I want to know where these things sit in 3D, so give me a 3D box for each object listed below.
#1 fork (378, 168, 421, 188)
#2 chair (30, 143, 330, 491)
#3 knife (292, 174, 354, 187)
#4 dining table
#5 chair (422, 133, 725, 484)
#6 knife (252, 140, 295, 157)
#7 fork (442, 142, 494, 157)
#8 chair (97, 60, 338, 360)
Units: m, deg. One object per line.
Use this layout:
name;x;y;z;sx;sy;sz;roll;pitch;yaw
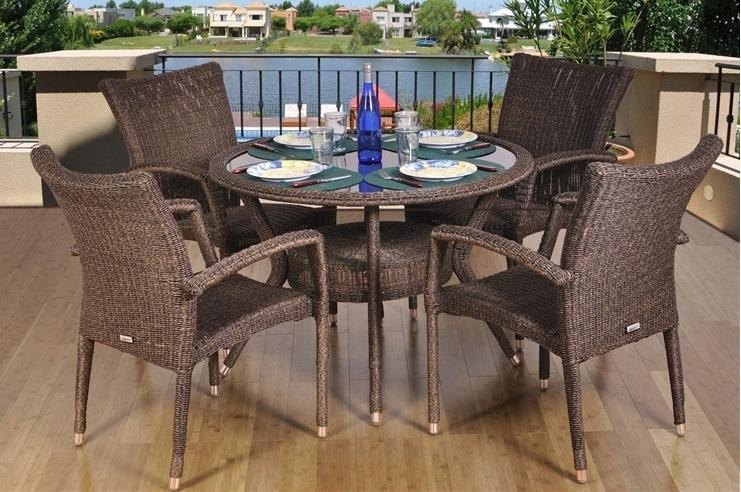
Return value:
fork;0.104;-0.251;2.057;0.238;0.029;0.048;17;41;38
chair;-0.584;0.224;1.882;0.887;1.041;0.626;-2;33;-4
knife;-0.173;-0.233;2.042;0.217;0.018;0.029;-9;24;-31
dining table;0.031;0.044;2.645;1.410;0.751;1.177;-1;22;-1
chair;0.712;0.158;2.059;0.761;0.842;0.796;-11;9;-33
knife;-0.409;-0.413;2.446;0.274;0.033;0.044;17;-7;36
fork;0.399;-0.400;2.382;0.252;0.030;0.038;-10;45;-20
chair;-0.610;-0.206;2.793;1.097;1.131;0.817;16;29;7
